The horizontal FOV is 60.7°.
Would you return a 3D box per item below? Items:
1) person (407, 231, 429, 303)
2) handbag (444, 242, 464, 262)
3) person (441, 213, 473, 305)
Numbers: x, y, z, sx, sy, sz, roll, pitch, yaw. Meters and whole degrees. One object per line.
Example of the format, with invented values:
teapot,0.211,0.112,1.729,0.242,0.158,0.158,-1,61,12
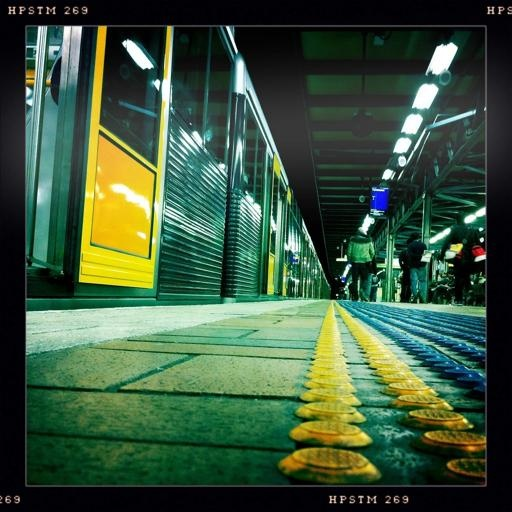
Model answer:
person,4.365,0.401,11.790,0.500,1.680,1.266,1,-4,21
handbag,3.854,-0.094,8.501,0.119,0.342,0.236,35,-18,-26
person,4.100,0.057,8.873,0.597,1.745,1.283,1,-4,23
